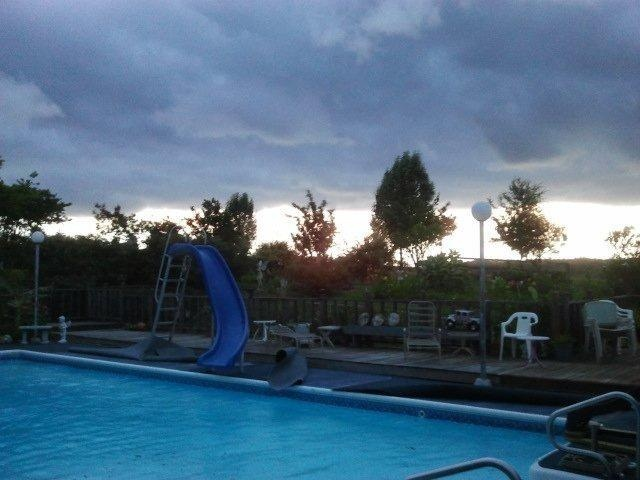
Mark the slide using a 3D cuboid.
[{"bbox_3d":[-2.051,1.308,11.218,0.903,2.544,2.085,7,-9,-39],"label":"slide"}]

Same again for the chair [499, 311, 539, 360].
[{"bbox_3d":[3.963,1.930,10.771,0.718,0.921,0.746,0,-2,-27],"label":"chair"}]

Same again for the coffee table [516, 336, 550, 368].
[{"bbox_3d":[4.045,2.103,10.229,0.608,0.558,0.627,-2,-16,23],"label":"coffee table"}]

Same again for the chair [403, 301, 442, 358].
[{"bbox_3d":[2.291,2.015,12.019,0.794,1.499,0.868,-1,-34,6],"label":"chair"}]
